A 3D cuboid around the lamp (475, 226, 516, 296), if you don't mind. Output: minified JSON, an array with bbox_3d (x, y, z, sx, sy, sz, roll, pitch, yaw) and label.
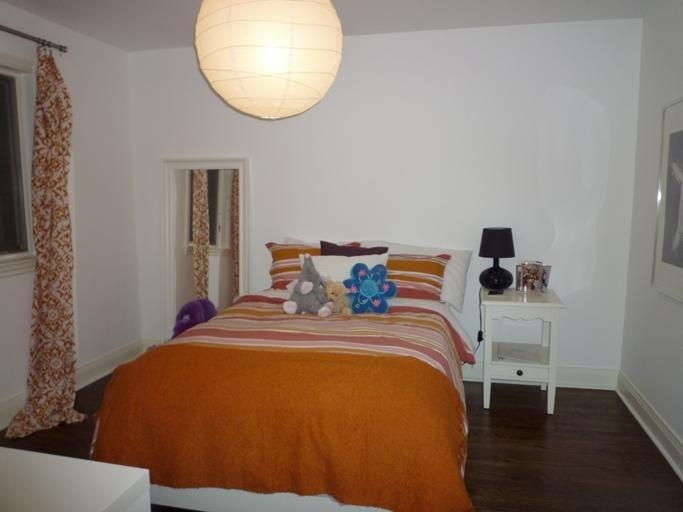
[{"bbox_3d":[1.214,0.017,4.092,0.255,0.491,0.347,3,14,12],"label":"lamp"}]

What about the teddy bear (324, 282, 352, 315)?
[{"bbox_3d":[-0.027,0.306,3.668,0.087,0.214,0.196,-17,-31,40],"label":"teddy bear"}]

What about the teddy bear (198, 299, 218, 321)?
[{"bbox_3d":[-1.000,0.412,3.878,0.064,0.157,0.141,-8,3,40],"label":"teddy bear"}]

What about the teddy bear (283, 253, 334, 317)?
[{"bbox_3d":[-0.194,0.221,3.718,0.327,0.467,0.325,0,-21,1],"label":"teddy bear"}]

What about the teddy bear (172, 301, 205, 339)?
[{"bbox_3d":[-1.107,0.442,3.755,0.211,0.257,0.087,-13,-32,44],"label":"teddy bear"}]

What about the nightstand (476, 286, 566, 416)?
[{"bbox_3d":[1.353,0.684,4.198,0.793,1.311,0.782,1,3,10],"label":"nightstand"}]
